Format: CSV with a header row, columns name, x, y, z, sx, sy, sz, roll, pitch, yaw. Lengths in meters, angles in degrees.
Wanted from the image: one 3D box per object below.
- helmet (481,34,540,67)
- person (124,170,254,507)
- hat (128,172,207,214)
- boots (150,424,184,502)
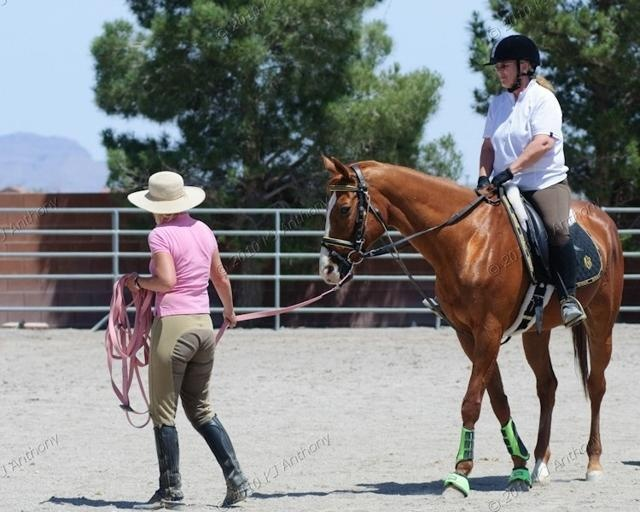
name,x,y,z,sx,sy,sz,roll,pitch,yaw
helmet,2.169,-2.266,18.480,0.675,0.346,0.468,1,2,-2
person,-1.443,0.867,17.710,1.217,3.376,1.258,-2,15,-8
hat,-1.669,-0.718,17.904,0.844,0.302,0.852,-7,23,-18
boots,-1.618,2.191,17.601,0.347,0.821,0.324,-2,15,-6
